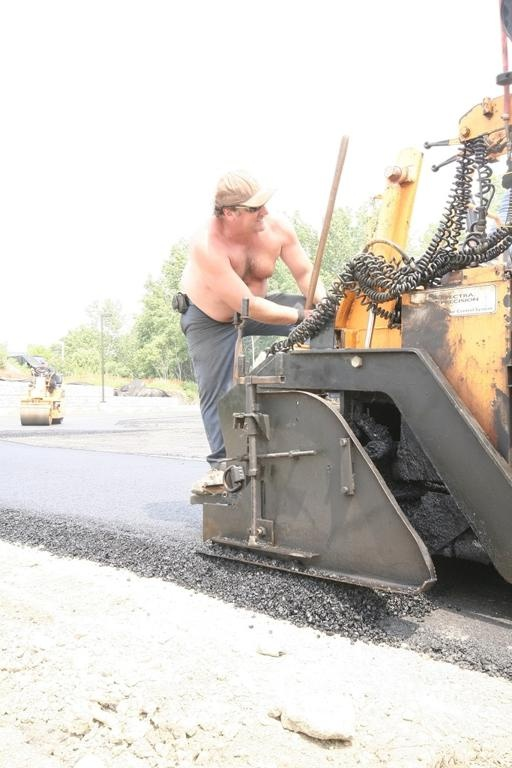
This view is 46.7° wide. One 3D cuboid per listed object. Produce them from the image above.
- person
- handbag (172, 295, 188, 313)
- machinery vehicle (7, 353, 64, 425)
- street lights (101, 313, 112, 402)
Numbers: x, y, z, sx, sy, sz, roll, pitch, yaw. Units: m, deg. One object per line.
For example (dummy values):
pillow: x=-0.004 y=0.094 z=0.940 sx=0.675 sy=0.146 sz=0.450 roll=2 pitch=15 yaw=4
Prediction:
person: x=0.057 y=-0.318 z=3.910 sx=1.087 sy=2.099 sz=0.945 roll=-9 pitch=21 yaw=-16
handbag: x=-0.504 y=-0.524 z=3.961 sx=0.050 sy=0.139 sz=0.096 roll=-5 pitch=29 yaw=-34
machinery vehicle: x=-6.003 y=0.312 z=16.533 sx=0.880 sy=1.661 sz=1.748 roll=-1 pitch=-1 yaw=-11
street lights: x=-12.400 y=-1.714 z=47.701 sx=0.852 sy=8.199 sz=0.843 roll=0 pitch=10 yaw=2
